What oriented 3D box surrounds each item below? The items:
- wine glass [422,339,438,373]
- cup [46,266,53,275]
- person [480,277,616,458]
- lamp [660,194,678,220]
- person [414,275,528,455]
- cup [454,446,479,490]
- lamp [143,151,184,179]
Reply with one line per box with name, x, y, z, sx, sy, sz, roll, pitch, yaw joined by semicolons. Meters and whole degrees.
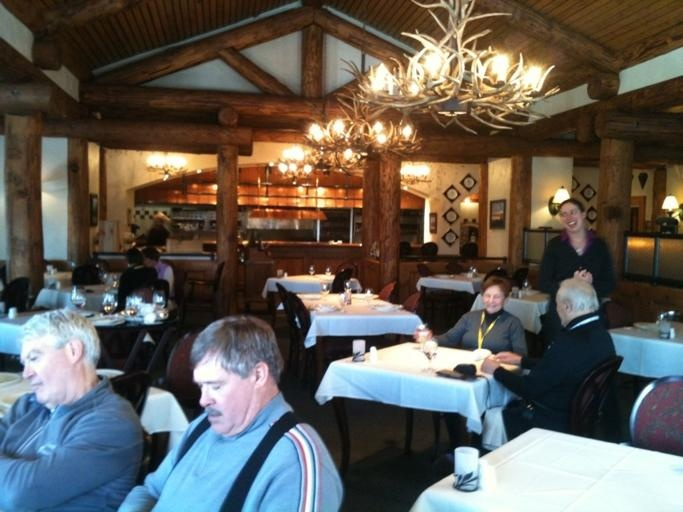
wine glass;0.566;0.621;3.655;0.092;0.170;0.285;1;4;7
cup;-4.092;0.207;7.900;0.116;0.124;0.116;1;-4;0
person;1.250;0.666;3.424;0.780;1.054;0.235;1;4;12
lamp;6.657;-1.033;11.419;0.301;0.428;1.025;2;4;29
person;0.959;0.819;4.058;0.790;1.299;0.682;-1;1;-22
cup;0.545;0.918;2.470;0.130;0.193;0.115;0;11;6
lamp;-3.672;-1.908;11.806;0.623;0.508;0.616;-1;11;-20
